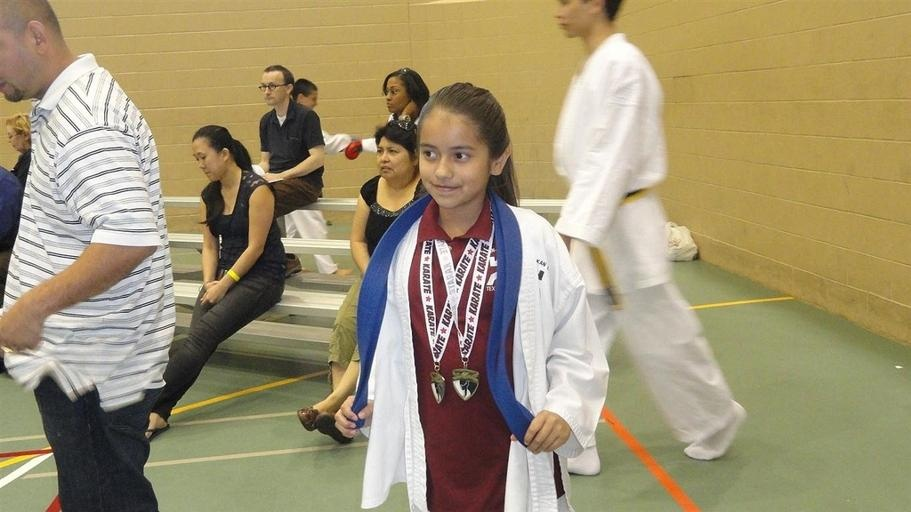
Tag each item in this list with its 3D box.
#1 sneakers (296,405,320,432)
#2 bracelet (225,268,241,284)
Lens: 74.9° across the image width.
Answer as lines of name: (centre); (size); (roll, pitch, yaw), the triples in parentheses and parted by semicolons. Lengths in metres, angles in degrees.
sneakers: (-1.028, 1.124, 4.167); (0.116, 0.252, 0.101); (-5, 7, -22)
bracelet: (-1.799, 0.166, 4.810); (0.044, 0.107, 0.109); (-36, 37, -15)
